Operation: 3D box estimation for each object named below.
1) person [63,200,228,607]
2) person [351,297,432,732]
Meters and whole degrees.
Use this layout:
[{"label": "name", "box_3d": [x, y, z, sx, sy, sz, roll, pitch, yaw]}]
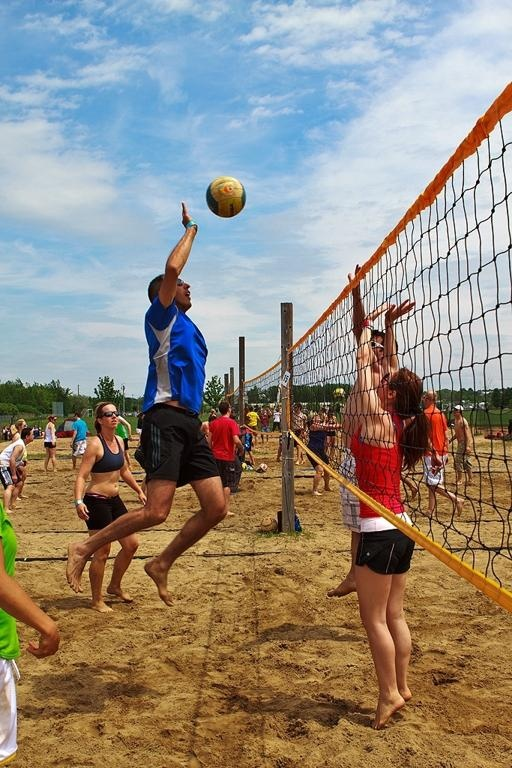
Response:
[{"label": "person", "box_3d": [-0.523, 0.062, 3.072, 0.725, 2.057, 0.461, -1, -2, -24]}, {"label": "person", "box_3d": [0.637, 0.512, 2.858, 0.357, 1.973, 0.638, -2, -2, 8]}]
